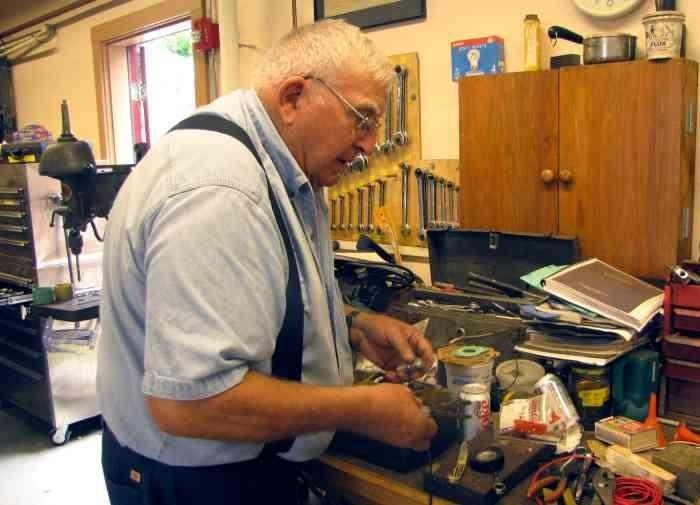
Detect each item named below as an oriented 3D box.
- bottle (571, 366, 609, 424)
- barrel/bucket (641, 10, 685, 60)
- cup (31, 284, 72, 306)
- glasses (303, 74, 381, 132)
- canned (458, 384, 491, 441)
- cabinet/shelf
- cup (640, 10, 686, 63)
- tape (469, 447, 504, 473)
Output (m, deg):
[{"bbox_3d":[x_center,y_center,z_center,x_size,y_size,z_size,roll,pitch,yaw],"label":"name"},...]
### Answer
[{"bbox_3d":[0.748,0.440,1.859,0.114,0.188,0.058,-2,5,18],"label":"bottle"},{"bbox_3d":[1.173,-0.781,2.272,0.170,0.192,0.174,-1,2,0],"label":"barrel/bucket"},{"bbox_3d":[-1.679,0.236,3.388,0.177,0.093,0.186,-4,5,0],"label":"cup"},{"bbox_3d":[-0.018,-0.403,1.622,0.044,0.145,0.141,-44,-5,12],"label":"glasses"},{"bbox_3d":[0.379,0.476,1.799,0.092,0.143,0.224,-3,5,12],"label":"canned"},{"bbox_3d":[0.941,-0.316,2.380,0.894,0.911,0.373,2,5,32],"label":"cabinet/shelf"},{"bbox_3d":[1.172,-0.807,2.316,0.171,0.188,0.176,-1,2,0],"label":"cup"},{"bbox_3d":[0.375,0.561,1.616,0.060,0.021,0.061,-10,6,-2],"label":"tape"}]
